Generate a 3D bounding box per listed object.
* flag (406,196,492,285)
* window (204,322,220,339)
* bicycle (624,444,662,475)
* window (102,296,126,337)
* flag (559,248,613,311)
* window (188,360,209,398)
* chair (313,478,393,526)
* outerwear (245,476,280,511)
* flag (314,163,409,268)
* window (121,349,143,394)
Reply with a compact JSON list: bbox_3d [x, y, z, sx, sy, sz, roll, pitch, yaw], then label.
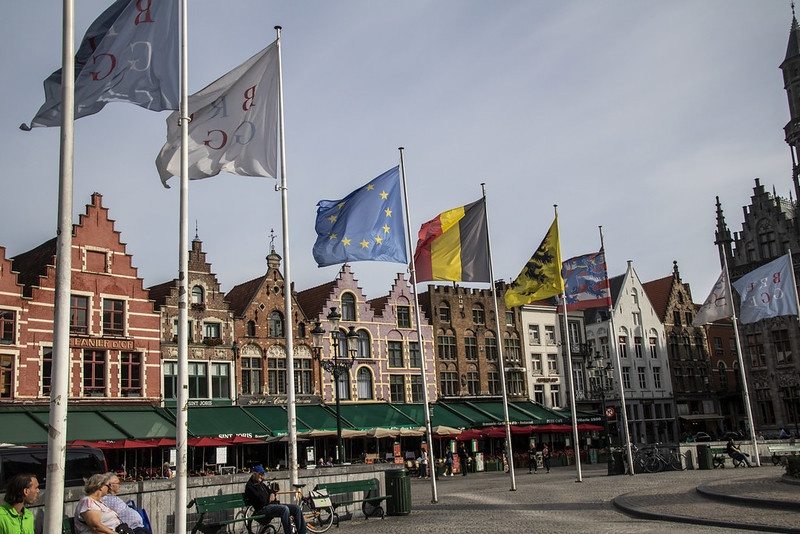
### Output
[{"bbox_3d":[2.151,-1.377,37.391,3.996,4.099,0.497,1,-8,-20],"label":"flag"},{"bbox_3d":[-12.599,4.245,55.425,0.080,0.949,1.074,-5,-8,43],"label":"window"},{"bbox_3d":[14.249,11.069,47.704,1.577,1.560,3.041,-10,-18,14],"label":"bicycle"},{"bbox_3d":[-17.850,3.057,51.508,1.447,2.597,0.093,7,-35,-28],"label":"window"},{"bbox_3d":[9.484,0.714,42.532,2.706,3.144,0.247,-12,-18,22],"label":"flag"},{"bbox_3d":[-13.205,7.230,54.114,1.318,2.374,0.124,8,-25,-35],"label":"window"},{"bbox_3d":[-1.758,8.897,31.419,1.168,1.457,3.276,-4,-11,33],"label":"chair"},{"bbox_3d":[-4.757,7.739,28.275,0.879,1.226,1.045,-23,-22,29],"label":"outerwear"},{"bbox_3d":[-1.445,-1.519,31.363,3.997,4.590,0.650,0,-9,-23],"label":"flag"},{"bbox_3d":[-16.761,6.565,51.463,0.216,2.660,1.415,-14,-16,43],"label":"window"}]
